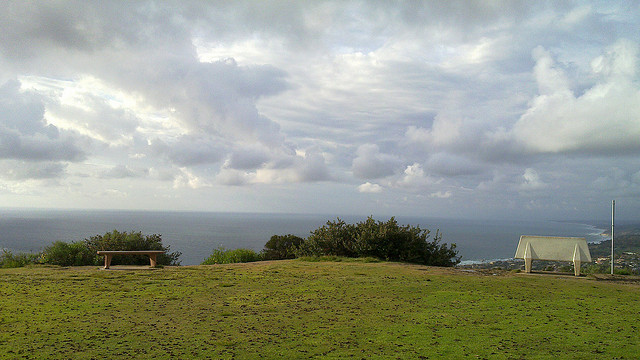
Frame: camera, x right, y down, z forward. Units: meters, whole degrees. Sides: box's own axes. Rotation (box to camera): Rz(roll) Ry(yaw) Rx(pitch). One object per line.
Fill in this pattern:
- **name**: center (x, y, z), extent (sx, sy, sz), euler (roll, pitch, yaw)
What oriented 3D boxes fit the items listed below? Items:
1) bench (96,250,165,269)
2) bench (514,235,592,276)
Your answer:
- **bench**: center (-12.157, 4.891, 31.489), extent (3.441, 1.113, 3.326), euler (0, -3, -22)
- **bench**: center (14.728, 4.715, 31.189), extent (1.495, 2.070, 4.678), euler (3, -6, -45)
